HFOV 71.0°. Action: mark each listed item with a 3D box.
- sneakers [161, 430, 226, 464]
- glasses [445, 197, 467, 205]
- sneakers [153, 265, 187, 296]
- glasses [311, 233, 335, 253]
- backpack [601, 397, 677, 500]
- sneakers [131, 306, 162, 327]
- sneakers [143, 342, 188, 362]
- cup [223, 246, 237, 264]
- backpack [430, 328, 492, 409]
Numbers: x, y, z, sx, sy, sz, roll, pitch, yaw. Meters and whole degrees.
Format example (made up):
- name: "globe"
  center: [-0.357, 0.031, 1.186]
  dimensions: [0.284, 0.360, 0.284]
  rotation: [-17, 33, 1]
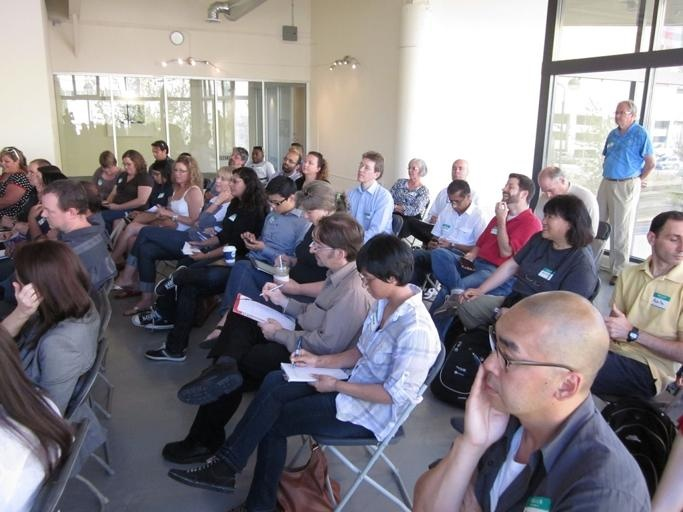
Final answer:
- name: "sneakers"
  center: [-0.878, 1.152, 2.954]
  dimensions: [0.455, 0.204, 0.182]
  rotation: [2, 5, 1]
- name: "glasses"
  center: [1.274, -0.606, 5.275]
  dimensions: [0.189, 0.060, 0.198]
  rotation: [1, 1, 43]
- name: "sneakers"
  center: [-1.637, 0.241, 4.574]
  dimensions: [0.342, 0.117, 0.151]
  rotation: [-39, 9, 1]
- name: "glasses"
  center: [-0.118, -0.072, 2.926]
  dimensions: [0.108, 0.037, 0.105]
  rotation: [7, 19, -30]
- name: "backpack"
  center: [1.268, 0.745, 2.013]
  dimensions: [0.259, 0.367, 0.336]
  rotation: [5, -6, 23]
- name: "sneakers"
  center: [-1.880, 0.564, 4.531]
  dimensions: [0.354, 0.141, 0.157]
  rotation: [-5, -22, -14]
- name: "sneakers"
  center: [-1.455, 0.819, 4.038]
  dimensions: [0.353, 0.155, 0.137]
  rotation: [8, -2, 0]
- name: "cup"
  center: [-0.996, -0.004, 4.379]
  dimensions: [0.161, 0.164, 0.164]
  rotation: [0, 2, 0]
- name: "backpack"
  center: [0.876, 0.791, 3.471]
  dimensions: [0.407, 0.568, 0.186]
  rotation: [17, -5, 30]
